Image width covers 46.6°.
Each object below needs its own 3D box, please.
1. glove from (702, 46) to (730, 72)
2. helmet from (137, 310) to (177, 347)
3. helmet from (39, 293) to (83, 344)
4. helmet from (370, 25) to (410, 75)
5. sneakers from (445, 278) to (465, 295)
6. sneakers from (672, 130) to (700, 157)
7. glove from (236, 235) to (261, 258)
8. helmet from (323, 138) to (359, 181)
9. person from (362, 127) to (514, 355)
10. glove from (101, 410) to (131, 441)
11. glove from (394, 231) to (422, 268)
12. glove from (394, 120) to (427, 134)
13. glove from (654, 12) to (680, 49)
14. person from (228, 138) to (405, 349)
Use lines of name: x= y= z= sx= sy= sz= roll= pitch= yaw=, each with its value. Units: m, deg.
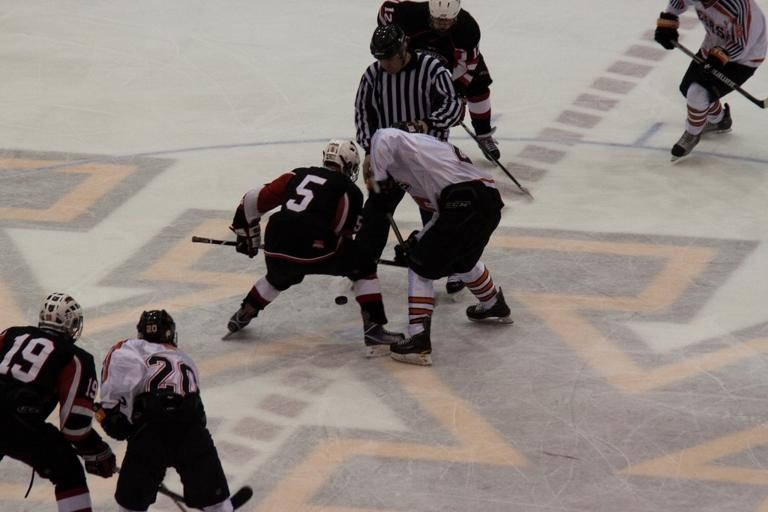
glove: x=2.914 y=-1.720 z=7.806 sx=0.239 sy=0.193 sz=0.170 roll=10 pitch=23 yaw=-46
helmet: x=-1.352 y=0.437 z=5.474 sx=0.239 sy=0.216 sz=0.254 roll=2 pitch=5 yaw=8
helmet: x=-1.887 y=0.370 z=5.495 sx=0.295 sy=0.258 sz=0.320 roll=10 pitch=12 yaw=5
helmet: x=0.054 y=-1.522 z=6.639 sx=0.281 sy=0.371 sz=0.243 roll=1 pitch=37 yaw=0
sneakers: x=0.550 y=0.232 z=6.895 sx=0.109 sy=0.091 sz=0.173 roll=-3 pitch=5 yaw=8
sneakers: x=2.769 y=-1.019 z=8.145 sx=0.331 sy=0.139 sz=0.108 roll=-38 pitch=67 yaw=-1
glove: x=-1.029 y=-0.074 z=6.705 sx=0.188 sy=0.146 sz=0.153 roll=-3 pitch=23 yaw=45
helmet: x=-0.285 y=-0.716 z=6.553 sx=0.289 sy=0.247 sz=0.326 roll=12 pitch=23 yaw=20
person: x=0.440 y=-0.073 z=6.263 sx=1.038 sy=1.519 sz=0.995 roll=-1 pitch=37 yaw=-2
glove: x=-1.556 y=0.993 z=5.202 sx=0.223 sy=0.162 sz=0.146 roll=-2 pitch=-1 yaw=-11
glove: x=0.164 y=-0.037 z=6.275 sx=0.113 sy=0.243 sz=0.188 roll=19 pitch=17 yaw=-21
glove: x=0.196 y=-0.938 z=6.468 sx=0.226 sy=0.064 sz=0.137 roll=2 pitch=-1 yaw=-9
glove: x=2.584 y=-2.060 z=8.132 sx=0.131 sy=0.310 sz=0.236 roll=-1 pitch=39 yaw=-7
person: x=-0.470 y=-0.022 z=6.555 sx=1.641 sy=1.390 sz=0.949 roll=15 pitch=26 yaw=24
